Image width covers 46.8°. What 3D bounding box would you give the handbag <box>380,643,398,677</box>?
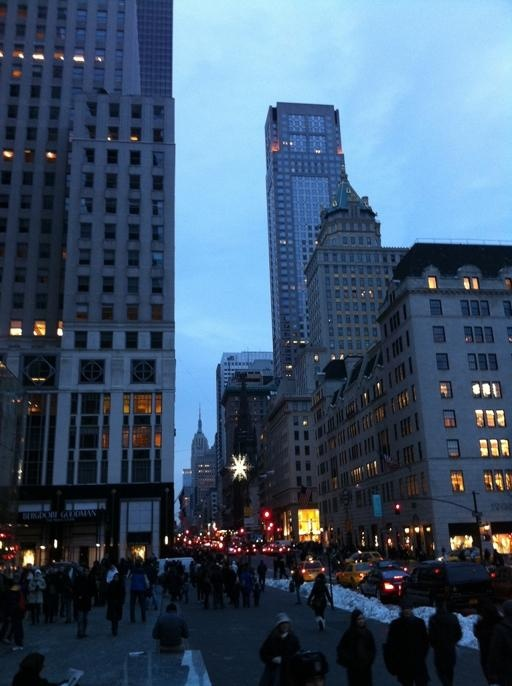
[{"bbox_3d":[1.951,4.562,8.547,0.210,0.516,0.504,-5,-18,8],"label":"handbag"}]
